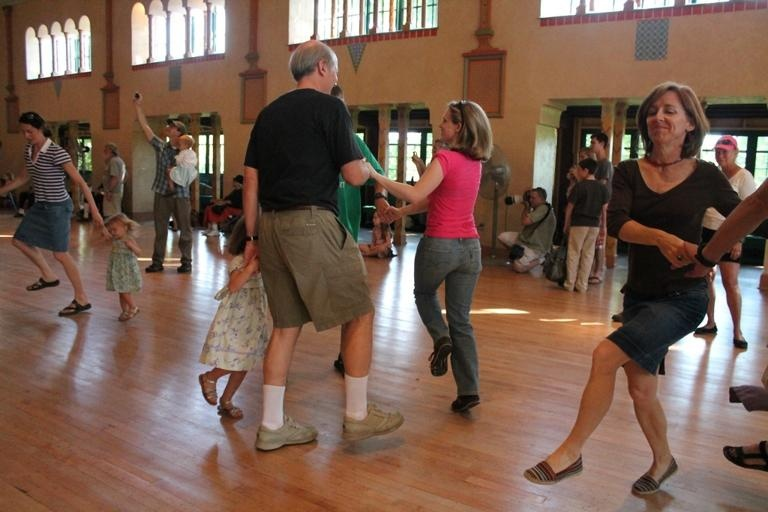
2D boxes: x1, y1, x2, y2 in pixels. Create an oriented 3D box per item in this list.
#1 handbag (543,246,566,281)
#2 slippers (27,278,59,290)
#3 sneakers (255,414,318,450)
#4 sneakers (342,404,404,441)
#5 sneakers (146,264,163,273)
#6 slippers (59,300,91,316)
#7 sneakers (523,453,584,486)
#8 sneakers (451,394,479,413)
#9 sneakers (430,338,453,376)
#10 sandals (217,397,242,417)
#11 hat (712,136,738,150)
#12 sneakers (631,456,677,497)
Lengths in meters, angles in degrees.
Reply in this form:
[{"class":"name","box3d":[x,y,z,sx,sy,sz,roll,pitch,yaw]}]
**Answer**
[{"class":"handbag","box3d":[2.342,0.124,8.055,0.203,0.358,0.369,23,17,2]},{"class":"slippers","box3d":[-3.669,0.313,6.285,0.375,0.141,0.149,1,-2,-10]},{"class":"sneakers","box3d":[-0.605,1.062,3.604,0.356,0.148,0.159,-2,5,-33]},{"class":"sneakers","box3d":[-0.073,1.033,3.648,0.408,0.186,0.171,-5,6,-24]},{"class":"sneakers","box3d":[-3.143,0.185,8.015,0.097,0.101,0.226,-3,-9,38]},{"class":"slippers","box3d":[-3.089,0.527,5.856,0.142,0.114,0.282,-2,-3,42]},{"class":"sneakers","box3d":[0.885,1.115,3.040,0.305,0.099,0.126,-7,4,-28]},{"class":"sneakers","box3d":[0.533,1.011,4.006,0.091,0.094,0.209,-12,-1,-31]},{"class":"sneakers","box3d":[0.370,0.682,3.881,0.125,0.268,0.107,6,34,-4]},{"class":"sandals","box3d":[-1.034,1.016,3.916,0.162,0.074,0.091,8,18,24]},{"class":"hat","box3d":[3.143,-1.034,5.362,0.204,0.106,0.137,9,-4,-44]},{"class":"sneakers","box3d":[1.533,1.258,3.278,0.314,0.100,0.126,-27,9,-28]}]
